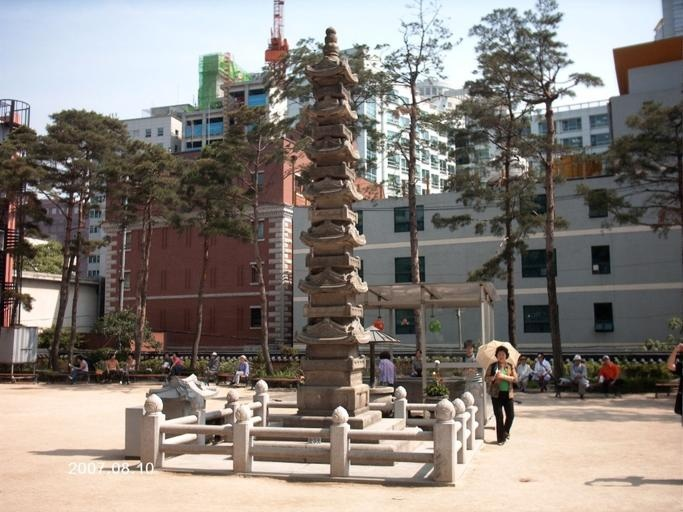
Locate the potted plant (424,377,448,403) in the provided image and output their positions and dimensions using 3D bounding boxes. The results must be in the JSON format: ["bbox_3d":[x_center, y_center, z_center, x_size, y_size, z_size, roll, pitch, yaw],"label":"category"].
[{"bbox_3d":[3.772,5.287,35.695,1.145,1.092,1.152,-3,-6,16],"label":"potted plant"}]

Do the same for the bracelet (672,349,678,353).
[{"bbox_3d":[9.675,2.772,26.678,0.112,0.109,0.061,-6,-13,34],"label":"bracelet"}]

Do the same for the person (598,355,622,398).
[{"bbox_3d":[12.346,5.712,42.319,1.043,1.996,1.037,-3,-11,11],"label":"person"}]

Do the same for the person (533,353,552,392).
[{"bbox_3d":[9.957,5.763,45.392,1.059,1.706,0.979,-1,8,38],"label":"person"}]
